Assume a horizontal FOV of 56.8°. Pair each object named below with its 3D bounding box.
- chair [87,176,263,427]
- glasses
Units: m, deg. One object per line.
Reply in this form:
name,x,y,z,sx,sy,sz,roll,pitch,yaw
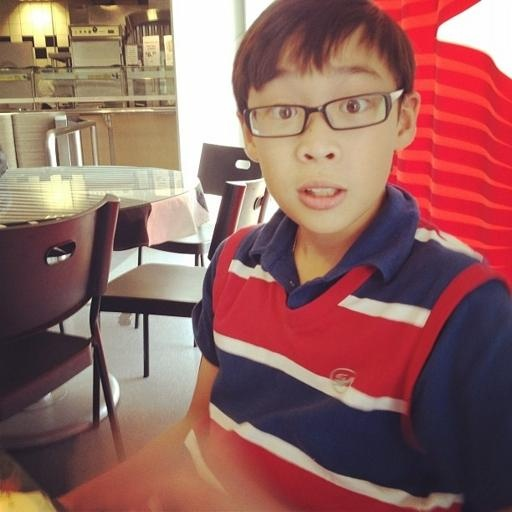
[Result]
chair,-0.236,0.021,1.608,0.619,0.856,0.514,6,19,9
glasses,0.078,-0.193,0.651,0.215,0.066,0.085,8,16,24
